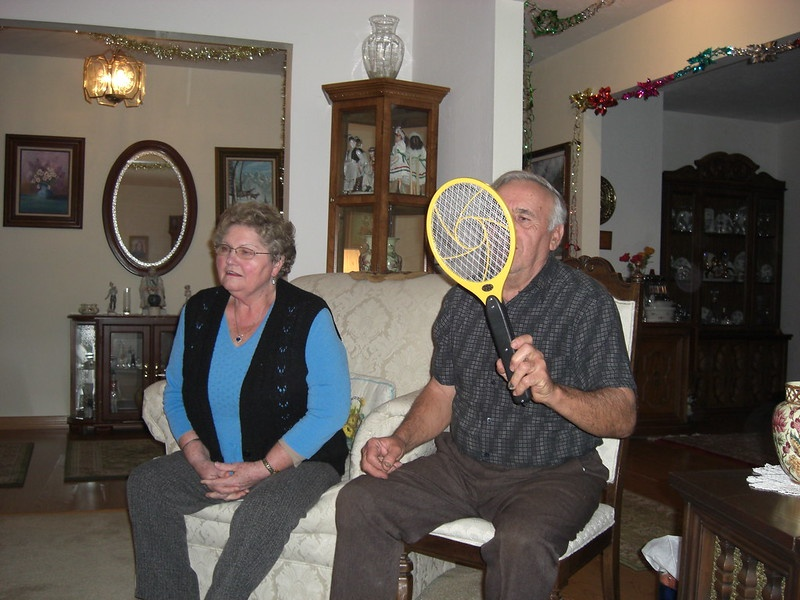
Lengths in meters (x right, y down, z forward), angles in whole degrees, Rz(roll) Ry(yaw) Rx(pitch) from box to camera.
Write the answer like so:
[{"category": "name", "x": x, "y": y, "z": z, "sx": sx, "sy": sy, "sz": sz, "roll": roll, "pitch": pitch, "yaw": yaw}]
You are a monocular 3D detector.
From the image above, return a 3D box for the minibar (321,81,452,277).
[{"category": "minibar", "x": -0.132, "y": -0.744, "z": 3.843, "sx": 0.670, "sy": 1.248, "sz": 0.491, "roll": 3, "pitch": 4, "yaw": -33}]

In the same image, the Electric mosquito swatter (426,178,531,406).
[{"category": "Electric mosquito swatter", "x": 0.233, "y": -0.062, "z": 1.828, "sx": 0.260, "sy": 0.725, "sz": 0.057, "roll": -20, "pitch": -16, "yaw": 18}]
